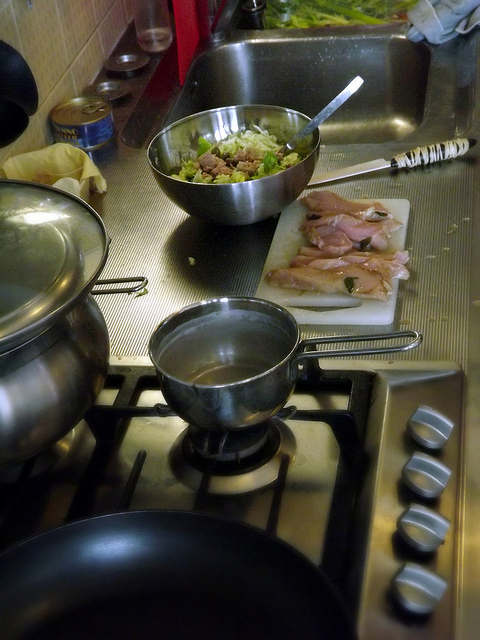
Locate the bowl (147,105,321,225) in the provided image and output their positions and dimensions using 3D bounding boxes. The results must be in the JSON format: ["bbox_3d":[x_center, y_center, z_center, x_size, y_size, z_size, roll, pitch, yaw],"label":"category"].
[{"bbox_3d":[-0.009,-0.288,0.982,0.258,0.156,0.273,-2,38,1],"label":"bowl"}]

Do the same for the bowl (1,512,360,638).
[{"bbox_3d":[-0.047,0.183,0.370,0.249,0.050,0.082,-1,37,9],"label":"bowl"}]

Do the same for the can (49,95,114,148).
[{"bbox_3d":[-0.350,-0.445,1.165,0.124,0.060,0.114,1,53,-1],"label":"can"}]

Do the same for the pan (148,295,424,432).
[{"bbox_3d":[0.006,0.018,0.638,0.340,0.140,0.258,-5,32,-12],"label":"pan"}]

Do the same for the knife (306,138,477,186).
[{"bbox_3d":[0.307,-0.311,1.030,0.413,0.040,0.064,-11,30,13],"label":"knife"}]

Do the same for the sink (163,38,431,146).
[{"bbox_3d":[0.216,-0.605,1.494,0.563,0.191,0.415,1,57,15],"label":"sink"}]
